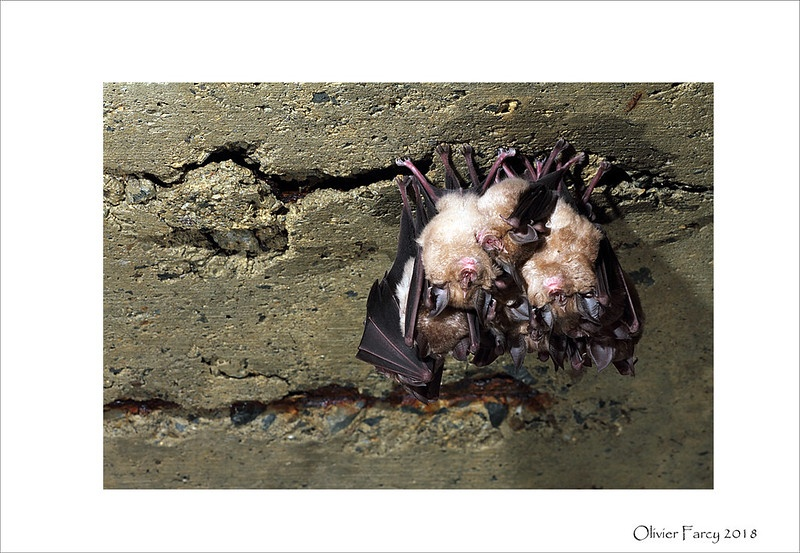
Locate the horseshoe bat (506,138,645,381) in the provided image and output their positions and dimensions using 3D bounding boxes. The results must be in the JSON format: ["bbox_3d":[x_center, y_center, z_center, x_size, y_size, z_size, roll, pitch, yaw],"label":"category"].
[{"bbox_3d":[1.027,-0.075,6.808,0.776,1.212,0.383,-13,-24,19],"label":"horseshoe bat"}]
